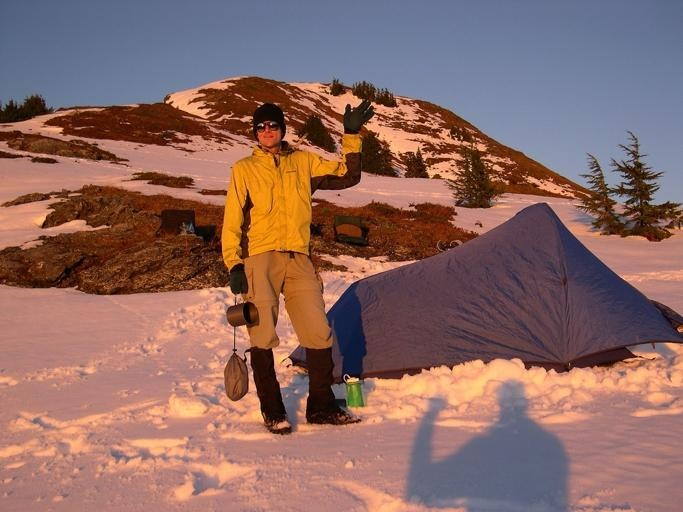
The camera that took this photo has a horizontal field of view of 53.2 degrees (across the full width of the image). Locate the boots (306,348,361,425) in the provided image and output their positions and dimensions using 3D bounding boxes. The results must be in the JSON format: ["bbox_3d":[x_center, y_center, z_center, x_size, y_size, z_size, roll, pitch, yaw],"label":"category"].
[{"bbox_3d":[-0.134,1.288,6.822,0.518,0.714,0.516,-7,15,-7],"label":"boots"}]

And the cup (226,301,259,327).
[{"bbox_3d":[-0.962,0.568,6.634,0.338,0.234,0.269,-3,-10,16],"label":"cup"}]

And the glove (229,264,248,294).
[{"bbox_3d":[-1.018,0.243,6.760,0.170,0.341,0.293,-8,15,-9],"label":"glove"}]

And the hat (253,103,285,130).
[{"bbox_3d":[-0.789,-1.462,7.031,0.319,0.209,0.317,4,-1,-44],"label":"hat"}]

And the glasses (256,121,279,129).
[{"bbox_3d":[-0.745,-1.330,6.900,0.132,0.033,0.115,-3,-18,2],"label":"glasses"}]

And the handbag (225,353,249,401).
[{"bbox_3d":[-1.064,1.204,6.865,0.234,0.535,0.226,-9,16,-12],"label":"handbag"}]

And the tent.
[{"bbox_3d":[1.838,0.633,8.054,3.399,0.967,2.755,-6,0,34],"label":"tent"}]
